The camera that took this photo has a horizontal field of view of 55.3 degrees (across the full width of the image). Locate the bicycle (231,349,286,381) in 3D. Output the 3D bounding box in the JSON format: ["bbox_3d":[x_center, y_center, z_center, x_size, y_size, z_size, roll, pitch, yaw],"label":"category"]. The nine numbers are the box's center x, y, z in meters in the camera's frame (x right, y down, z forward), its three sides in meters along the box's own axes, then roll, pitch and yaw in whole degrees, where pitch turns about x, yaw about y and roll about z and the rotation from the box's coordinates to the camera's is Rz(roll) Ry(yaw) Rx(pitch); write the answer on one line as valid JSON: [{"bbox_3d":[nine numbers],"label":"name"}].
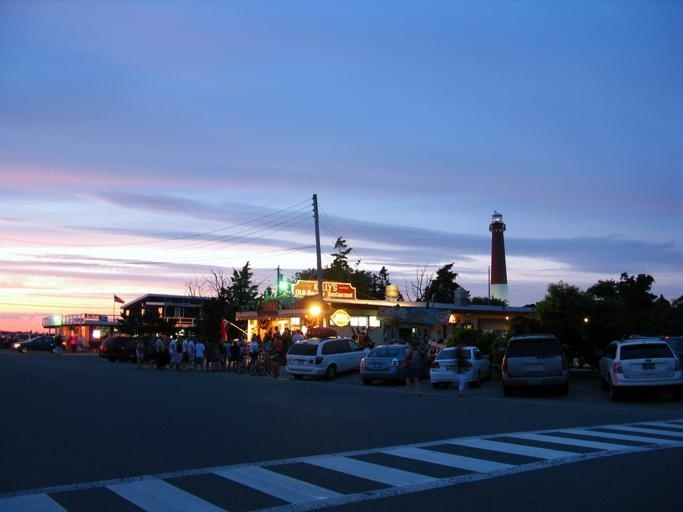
[{"bbox_3d":[-3.910,5.300,32.016,2.563,1.547,1.315,-2,-7,38],"label":"bicycle"}]

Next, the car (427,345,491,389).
[{"bbox_3d":[4.859,4.327,25.864,1.285,1.017,3.102,-2,-1,22],"label":"car"}]

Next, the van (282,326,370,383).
[{"bbox_3d":[-0.606,4.674,30.545,1.730,1.398,3.985,-2,1,31],"label":"van"}]

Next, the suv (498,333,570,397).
[{"bbox_3d":[6.236,3.461,21.108,1.352,1.222,2.487,-1,1,10],"label":"suv"}]

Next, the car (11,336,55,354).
[{"bbox_3d":[-27.141,8.080,58.021,3.193,1.095,1.697,9,-9,-36],"label":"car"}]
